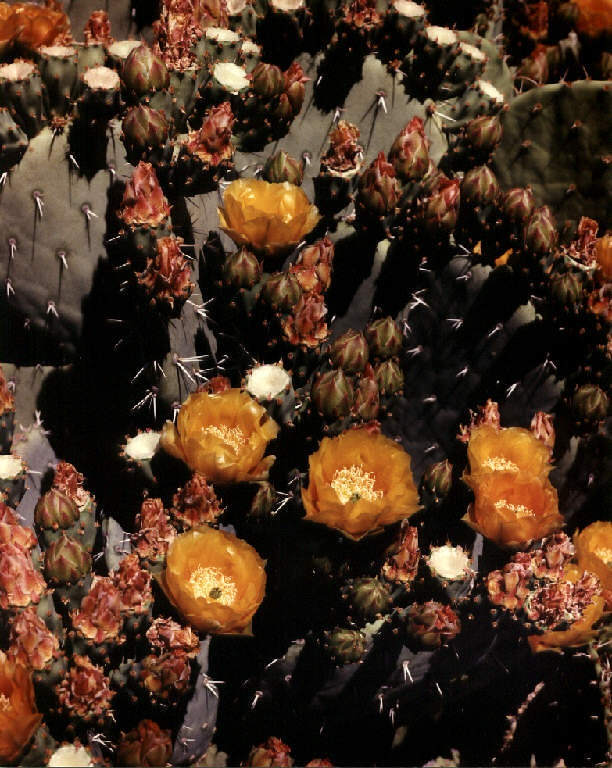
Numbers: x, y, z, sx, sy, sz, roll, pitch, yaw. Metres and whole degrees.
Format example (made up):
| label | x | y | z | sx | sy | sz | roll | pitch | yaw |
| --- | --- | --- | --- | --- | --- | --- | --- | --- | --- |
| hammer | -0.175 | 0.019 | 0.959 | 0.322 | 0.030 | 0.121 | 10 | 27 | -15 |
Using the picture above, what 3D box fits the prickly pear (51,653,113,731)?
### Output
| label | x | y | z | sx | sy | sz | roll | pitch | yaw |
| --- | --- | --- | --- | --- | --- | --- | --- | --- | --- |
| prickly pear | -0.206 | 0.282 | 0.700 | 0.053 | 0.066 | 0.051 | 27 | 59 | 13 |
